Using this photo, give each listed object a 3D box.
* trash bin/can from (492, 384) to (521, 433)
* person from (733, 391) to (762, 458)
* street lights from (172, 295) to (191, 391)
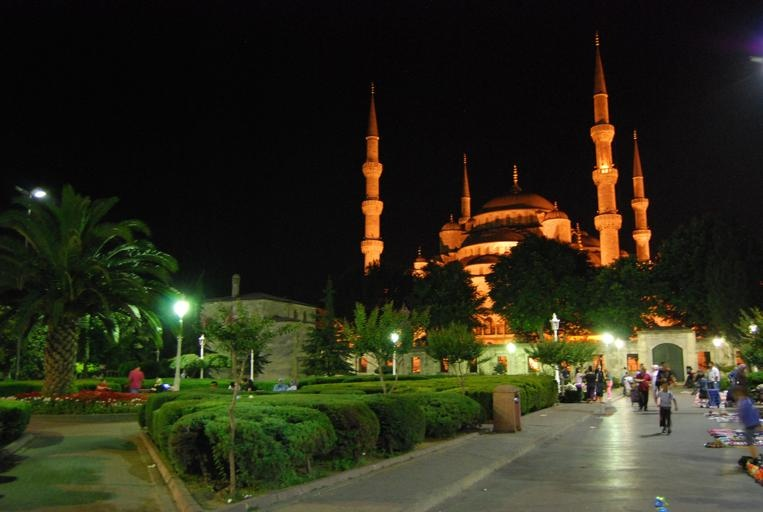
[{"bbox_3d":[4.681,5.693,24.774,1.007,1.715,0.742,-3,-14,6],"label":"trash bin/can"},{"bbox_3d":[10.377,4.645,18.693,0.516,2.000,0.861,-8,-15,25],"label":"person"},{"bbox_3d":[-8.776,3.889,29.112,0.689,3.513,0.636,3,-18,-13],"label":"street lights"}]
